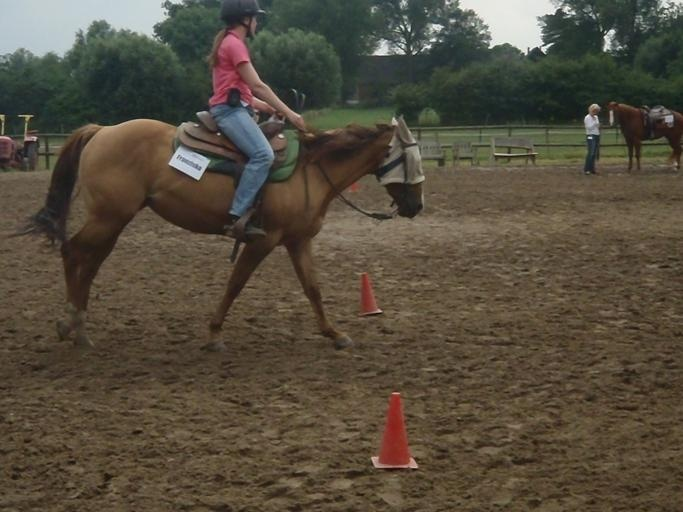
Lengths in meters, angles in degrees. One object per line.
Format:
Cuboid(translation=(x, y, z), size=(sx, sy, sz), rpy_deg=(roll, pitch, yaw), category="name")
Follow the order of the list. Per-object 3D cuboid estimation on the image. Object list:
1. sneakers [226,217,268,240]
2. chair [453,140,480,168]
Cuboid(translation=(-0.904, -0.270, 8.492), size=(0.318, 0.123, 0.219), rpy_deg=(5, 8, 5), category="sneakers")
Cuboid(translation=(3.739, -3.052, 27.055), size=(0.990, 0.846, 1.182), rpy_deg=(0, 5, 0), category="chair")
